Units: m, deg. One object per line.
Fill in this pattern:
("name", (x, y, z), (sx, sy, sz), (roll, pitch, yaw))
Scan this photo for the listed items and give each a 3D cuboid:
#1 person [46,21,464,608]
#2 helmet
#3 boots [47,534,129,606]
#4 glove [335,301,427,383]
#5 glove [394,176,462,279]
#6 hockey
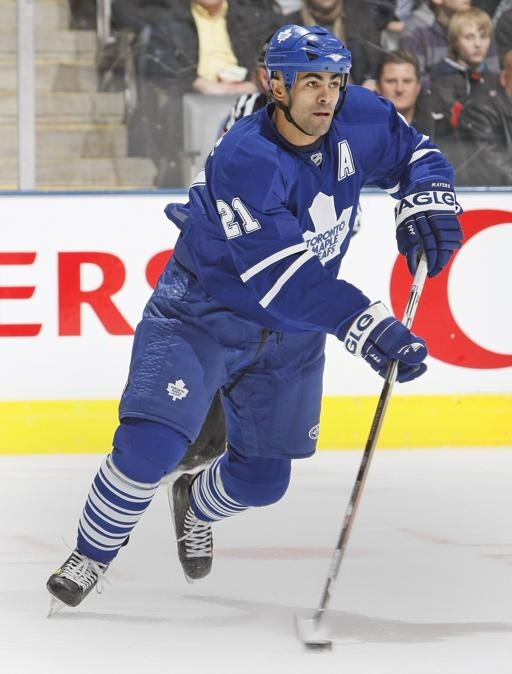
("person", (0.100, -0.010, 2.265), (0.996, 1.392, 0.892), (5, 2, 17))
("helmet", (0.106, -0.643, 2.039), (0.151, 0.115, 0.188), (-13, 20, -36))
("boots", (-0.430, 0.583, 2.198), (0.069, 0.073, 0.188), (42, 12, 1))
("glove", (0.306, -0.002, 2.007), (0.214, 0.166, 0.097), (37, 40, -10))
("glove", (0.433, -0.269, 2.241), (0.124, 0.225, 0.183), (17, 4, -11))
("hockey", (0.262, 0.245, 2.162), (0.274, 0.853, 0.584), (2, 13, 11))
